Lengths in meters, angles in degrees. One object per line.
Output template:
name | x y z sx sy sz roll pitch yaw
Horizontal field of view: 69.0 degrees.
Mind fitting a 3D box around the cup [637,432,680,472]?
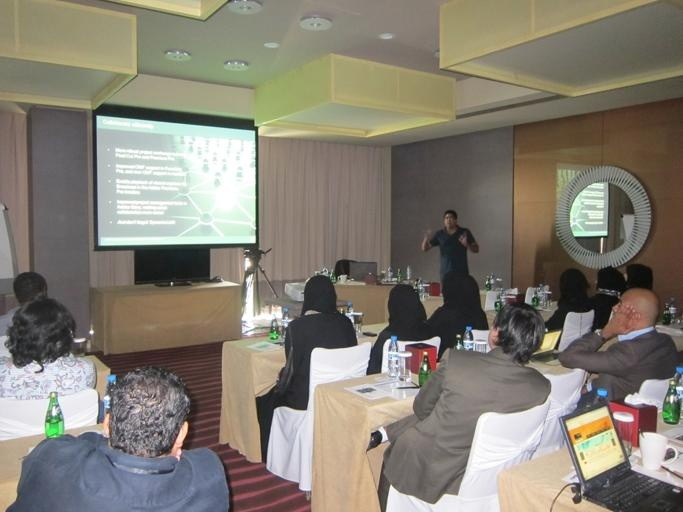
cup | 1.469 0.887 2.310 0.137 0.163 0.202 2 -3 -26

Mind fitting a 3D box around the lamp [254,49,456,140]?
lamp | -0.057 -2.056 6.619 1.514 0.417 1.410 2 -7 -34

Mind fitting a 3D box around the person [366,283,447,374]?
person | 0.598 0.620 4.297 0.579 0.764 0.420 -4 14 -13

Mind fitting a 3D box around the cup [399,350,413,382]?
cup | 0.445 0.776 3.467 0.138 0.234 0.143 -1 4 0

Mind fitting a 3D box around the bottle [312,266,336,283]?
bottle | -0.261 0.293 8.415 0.298 0.214 0.307 2 4 0

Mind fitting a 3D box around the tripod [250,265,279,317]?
tripod | -1.424 0.520 8.668 0.503 0.742 0.532 -12 4 11

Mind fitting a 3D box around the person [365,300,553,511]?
person | 0.666 0.792 2.720 0.909 1.034 0.430 0 3 16

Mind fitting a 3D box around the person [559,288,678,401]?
person | 1.789 0.571 3.185 0.696 0.720 0.331 0 3 24

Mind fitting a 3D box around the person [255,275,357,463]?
person | -0.265 0.906 3.969 0.721 1.464 0.579 1 3 32

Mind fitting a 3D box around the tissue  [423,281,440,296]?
tissue  | 1.302 0.476 6.972 0.228 0.234 0.151 -1 2 -16

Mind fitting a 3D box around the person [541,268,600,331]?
person | 2.583 0.492 5.514 0.432 0.890 0.274 10 7 -4

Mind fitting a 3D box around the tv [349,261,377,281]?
tv | 0.371 0.230 7.711 0.401 0.299 0.288 2 -11 -11

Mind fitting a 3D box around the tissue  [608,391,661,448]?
tissue  | 1.504 0.810 2.616 0.261 0.270 0.255 -7 6 -39

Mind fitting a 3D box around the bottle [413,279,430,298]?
bottle | 1.177 0.470 7.082 0.252 0.303 0.258 -1 6 -7

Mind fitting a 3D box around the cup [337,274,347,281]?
cup | 0.007 0.360 7.805 0.125 0.128 0.082 2 5 14

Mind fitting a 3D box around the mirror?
mirror | 3.891 -0.574 7.235 0.088 1.806 1.586 -4 2 -42
